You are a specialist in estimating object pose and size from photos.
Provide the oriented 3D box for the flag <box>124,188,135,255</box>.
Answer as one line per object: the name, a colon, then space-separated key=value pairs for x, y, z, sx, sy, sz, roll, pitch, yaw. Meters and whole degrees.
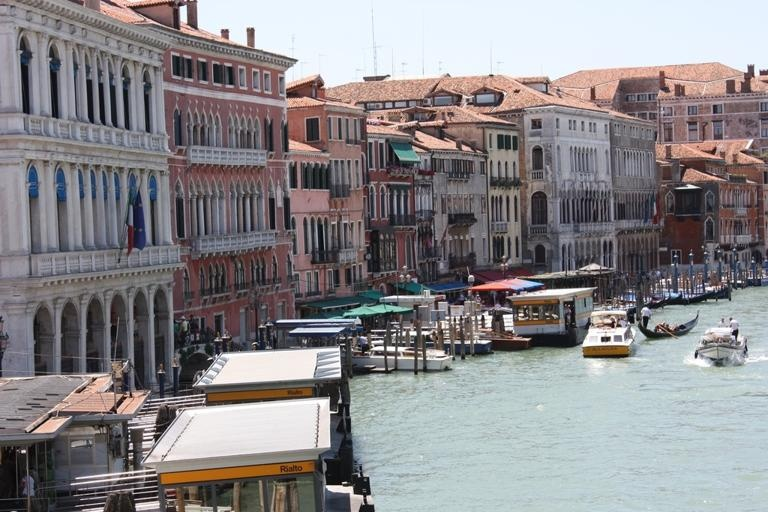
flag: x=-13.276 y=-1.819 z=105.684 sx=0.530 sy=3.169 sz=1.894 roll=-4 pitch=-1 yaw=-8

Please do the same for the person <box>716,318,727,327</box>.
person: x=23.267 y=4.643 z=136.829 sx=0.695 sy=0.747 sz=0.430 roll=2 pitch=17 yaw=-5

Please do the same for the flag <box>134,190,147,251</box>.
flag: x=-12.899 y=-1.798 z=105.922 sx=0.606 sy=2.792 sz=1.597 roll=-4 pitch=-1 yaw=-9
